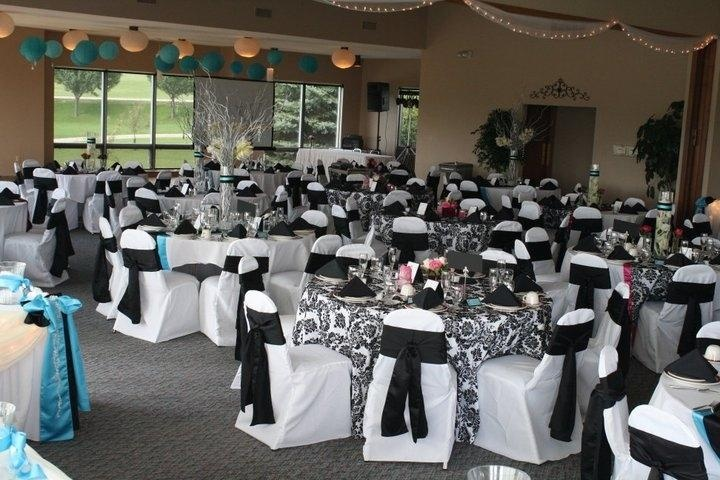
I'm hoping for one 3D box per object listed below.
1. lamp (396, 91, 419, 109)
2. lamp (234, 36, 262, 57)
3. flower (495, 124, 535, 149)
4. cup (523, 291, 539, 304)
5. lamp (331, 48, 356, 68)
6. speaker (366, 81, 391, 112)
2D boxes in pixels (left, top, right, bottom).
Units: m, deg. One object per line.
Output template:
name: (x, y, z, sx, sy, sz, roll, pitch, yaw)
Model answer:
lamp: (1.606, -4.691, 15.967, 0.674, 0.544, 1.228, 3, 7, 8)
lamp: (-2.708, -4.671, 11.433, 0.527, 0.438, 0.352, -1, 8, -16)
flower: (3.471, -2.290, 11.040, 0.798, 0.488, 0.687, -14, 6, -38)
cup: (1.433, 0.485, 4.002, 0.102, 0.101, 0.083, -1, 7, 2)
lamp: (-0.404, -4.635, 12.055, 0.491, 0.558, 0.723, 2, 7, 3)
speaker: (0.724, -5.105, 17.195, 0.853, 1.394, 0.891, 4, 8, 30)
